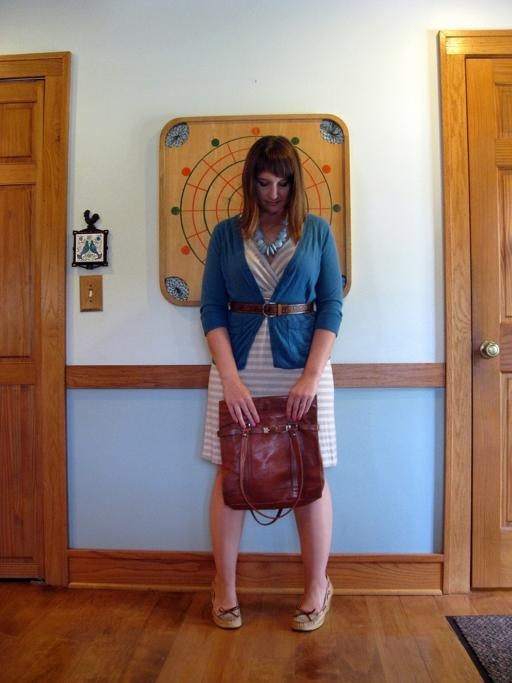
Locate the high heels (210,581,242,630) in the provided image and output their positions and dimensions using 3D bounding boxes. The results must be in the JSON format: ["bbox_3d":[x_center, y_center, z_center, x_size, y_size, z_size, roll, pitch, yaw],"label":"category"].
[{"bbox_3d":[-0.092,0.817,1.986,0.101,0.099,0.258,2,-8,-8],"label":"high heels"}]

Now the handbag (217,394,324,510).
[{"bbox_3d":[0.043,0.326,1.911,0.341,0.341,0.182,-2,-7,-5],"label":"handbag"}]

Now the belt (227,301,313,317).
[{"bbox_3d":[0.051,-0.100,1.993,0.257,0.042,0.089,-1,8,-3],"label":"belt"}]
